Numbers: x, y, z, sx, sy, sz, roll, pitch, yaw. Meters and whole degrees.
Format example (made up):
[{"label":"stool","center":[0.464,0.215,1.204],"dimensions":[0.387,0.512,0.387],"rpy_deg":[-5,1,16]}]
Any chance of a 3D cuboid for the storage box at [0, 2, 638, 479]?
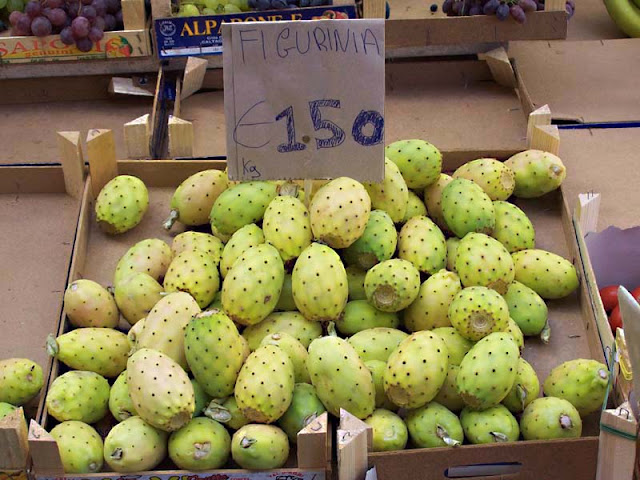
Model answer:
[{"label":"storage box","center":[0.008,0.149,2.280],"dimensions":[1.968,0.485,1.417],"rpy_deg":[-2,54,-5]}]
